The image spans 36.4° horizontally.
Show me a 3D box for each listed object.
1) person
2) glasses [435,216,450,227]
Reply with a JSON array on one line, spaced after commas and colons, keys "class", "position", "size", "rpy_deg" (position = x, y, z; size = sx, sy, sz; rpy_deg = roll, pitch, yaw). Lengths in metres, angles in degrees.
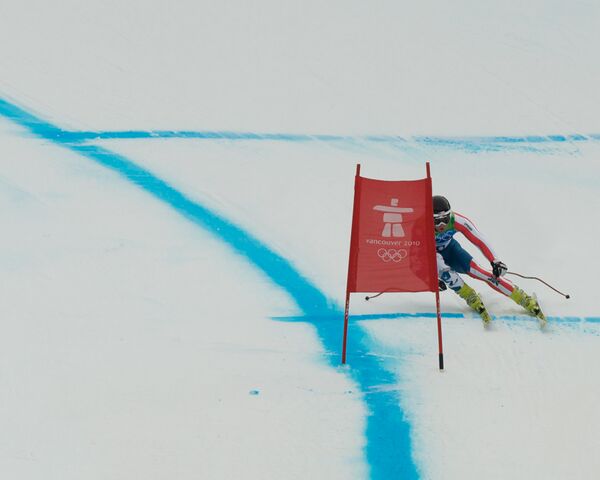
[{"class": "person", "position": [1.957, 0.201, 11.062], "size": [2.050, 1.209, 0.663], "rpy_deg": [11, 19, 37]}, {"class": "glasses", "position": [1.726, -0.224, 10.735], "size": [0.133, 0.131, 0.082], "rpy_deg": [-3, 17, 3]}]
